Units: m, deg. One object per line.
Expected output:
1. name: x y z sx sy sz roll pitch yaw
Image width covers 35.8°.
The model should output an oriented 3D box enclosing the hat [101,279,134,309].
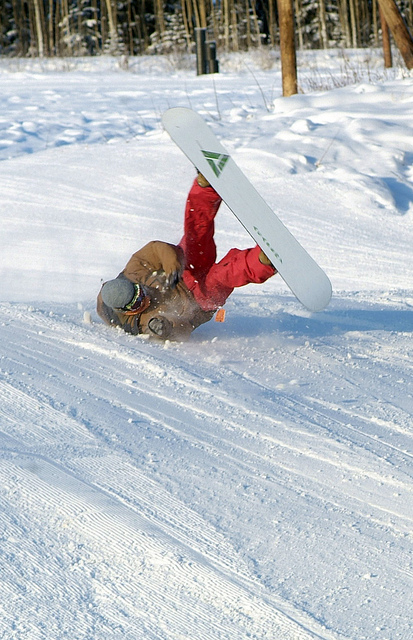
1. hat: -0.448 -0.143 3.248 0.132 0.114 0.163 -7 8 -33

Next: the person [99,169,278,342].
1. person: -0.051 -0.271 3.566 0.927 0.375 0.704 8 -9 5

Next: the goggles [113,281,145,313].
1. goggles: -0.424 -0.125 3.391 0.160 0.118 0.083 21 -15 35

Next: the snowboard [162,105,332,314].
1. snowboard: 0.204 -0.589 3.352 0.462 1.104 0.653 -18 17 -38
